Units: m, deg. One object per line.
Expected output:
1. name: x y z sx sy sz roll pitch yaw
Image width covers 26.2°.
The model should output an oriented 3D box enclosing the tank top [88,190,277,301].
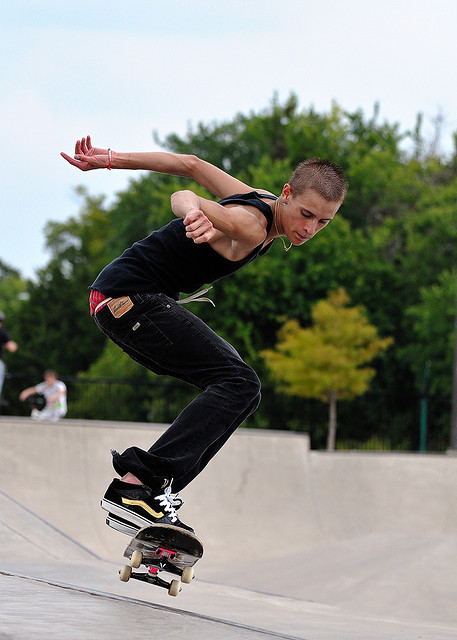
1. tank top: -0.215 -0.279 4.498 0.700 0.203 0.540 -23 17 7

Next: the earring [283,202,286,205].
1. earring: 0.258 -0.528 4.476 0.012 0.009 0.005 2 -4 25

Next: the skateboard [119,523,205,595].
1. skateboard: -0.323 1.041 4.323 0.314 0.122 0.642 6 2 -2
